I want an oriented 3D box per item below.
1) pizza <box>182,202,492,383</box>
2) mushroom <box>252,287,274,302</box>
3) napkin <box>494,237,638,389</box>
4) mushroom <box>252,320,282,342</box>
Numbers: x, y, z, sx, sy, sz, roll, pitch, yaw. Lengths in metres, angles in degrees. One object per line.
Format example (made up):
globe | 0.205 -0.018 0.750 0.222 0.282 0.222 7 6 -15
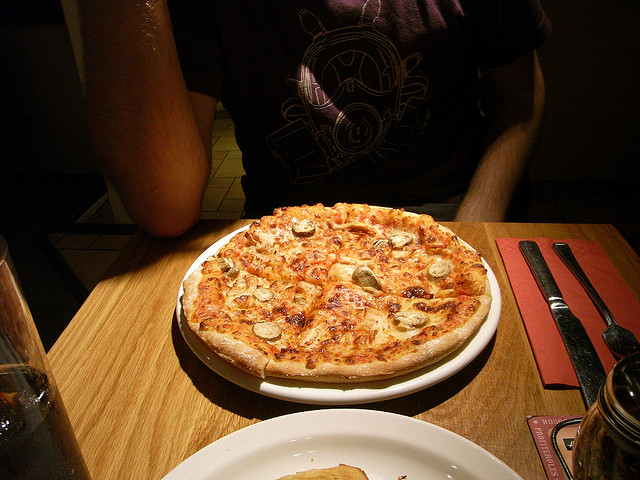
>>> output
pizza | 0.059 0.166 1.156 0.488 0.082 0.493 -3 34 1
mushroom | -0.142 0.136 1.156 0.033 0.009 0.035 2 43 -18
napkin | 0.568 0.132 1.103 0.201 0.008 0.365 -2 39 -3
mushroom | -0.122 0.209 1.054 0.066 0.024 0.061 -9 47 -14
